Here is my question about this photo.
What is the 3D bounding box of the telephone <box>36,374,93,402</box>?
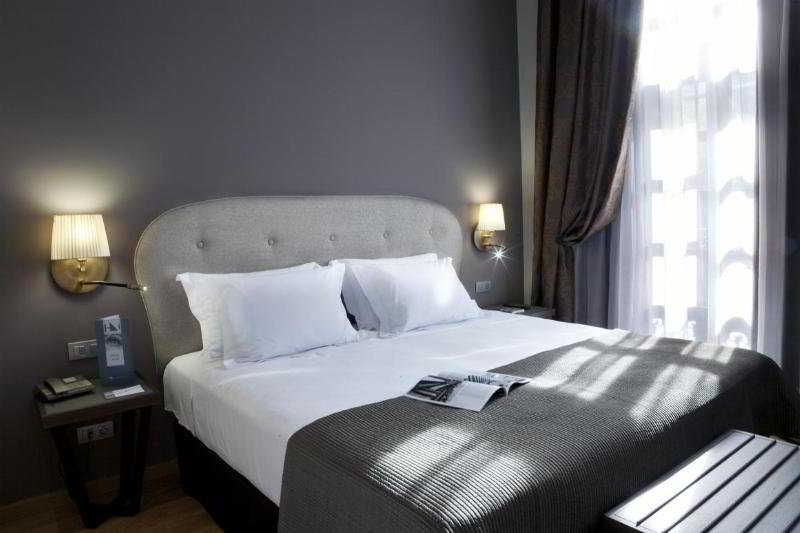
[{"bbox_3d":[-1.945,0.688,2.918,0.257,0.142,0.322,-12,4,-37],"label":"telephone"}]

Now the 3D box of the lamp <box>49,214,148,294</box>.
[{"bbox_3d":[-1.854,-0.099,3.084,0.560,0.436,0.367,15,20,27],"label":"lamp"}]
